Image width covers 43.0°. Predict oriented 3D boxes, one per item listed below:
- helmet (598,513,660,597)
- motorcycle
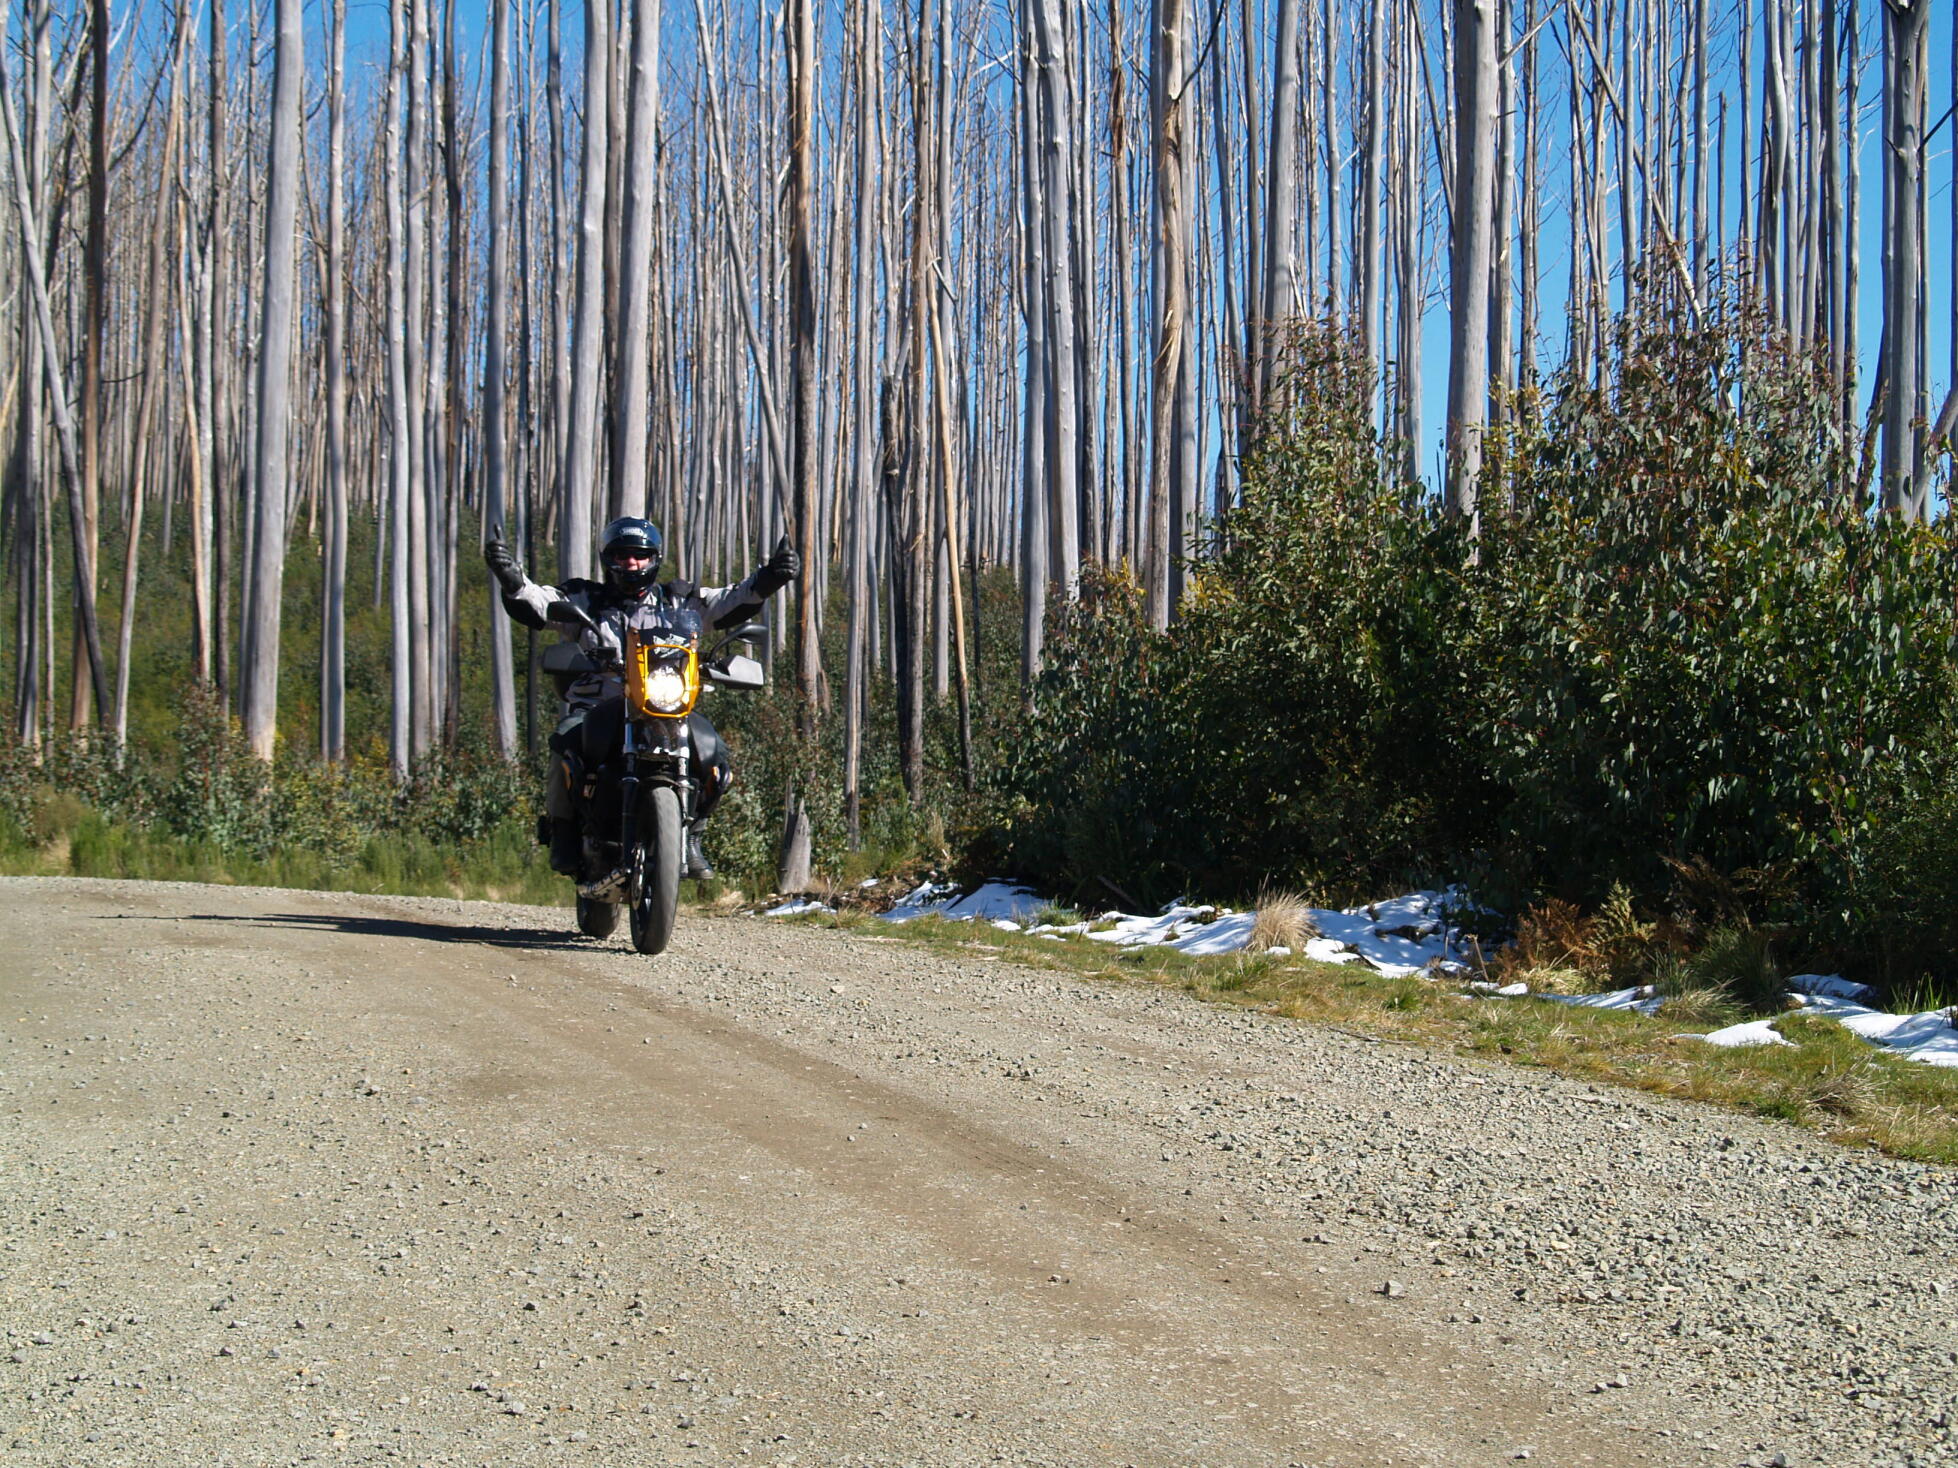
[{"bbox_3d":[-2.462,-1.267,17.397,0.325,0.573,0.494,0,-1,-7],"label":"helmet"},{"bbox_3d":[-2.414,0.287,17.429,1.092,2.543,0.702,0,-1,30],"label":"motorcycle"}]
